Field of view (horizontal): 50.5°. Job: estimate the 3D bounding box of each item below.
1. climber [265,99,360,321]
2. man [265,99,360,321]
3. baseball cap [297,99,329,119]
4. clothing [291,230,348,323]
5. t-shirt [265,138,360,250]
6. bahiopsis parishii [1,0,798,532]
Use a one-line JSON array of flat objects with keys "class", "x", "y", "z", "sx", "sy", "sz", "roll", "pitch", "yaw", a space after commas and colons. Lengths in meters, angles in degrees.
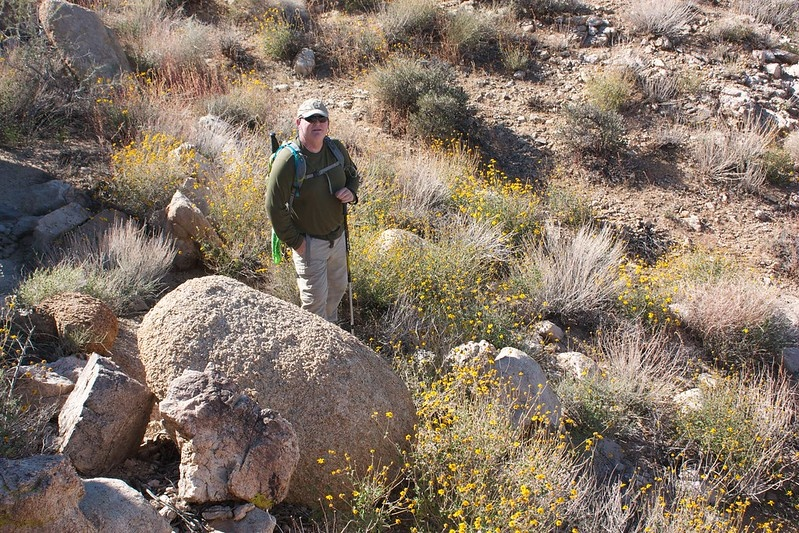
[{"class": "climber", "x": -1.105, "y": -0.513, "z": 12.097, "sx": 1.395, "sy": 3.825, "sz": 1.189, "roll": -20, "pitch": 36, "yaw": -30}, {"class": "man", "x": -1.158, "y": -0.485, "z": 12.064, "sx": 1.364, "sy": 3.915, "sz": 1.160, "roll": -20, "pitch": 33, "yaw": -36}, {"class": "baseball cap", "x": -1.183, "y": -2.130, "z": 11.491, "sx": 0.240, "sy": 0.218, "sz": 0.367, "roll": 1, "pitch": 6, "yaw": -8}, {"class": "clothing", "x": -1.041, "y": 0.053, "z": 12.129, "sx": 0.591, "sy": 1.681, "sz": 0.436, "roll": -2, "pitch": 40, "yaw": -9}, {"class": "t-shirt", "x": -1.155, "y": -1.080, "z": 11.849, "sx": 1.274, "sy": 1.513, "sz": 0.784, "roll": -10, "pitch": 10, "yaw": -18}, {"class": "bahiopsis parishii", "x": 0.831, "y": 0.289, "z": 12.302, "sx": 10.802, "sy": 3.877, "sz": 6.577, "roll": 14, "pitch": 30, "yaw": -5}]
